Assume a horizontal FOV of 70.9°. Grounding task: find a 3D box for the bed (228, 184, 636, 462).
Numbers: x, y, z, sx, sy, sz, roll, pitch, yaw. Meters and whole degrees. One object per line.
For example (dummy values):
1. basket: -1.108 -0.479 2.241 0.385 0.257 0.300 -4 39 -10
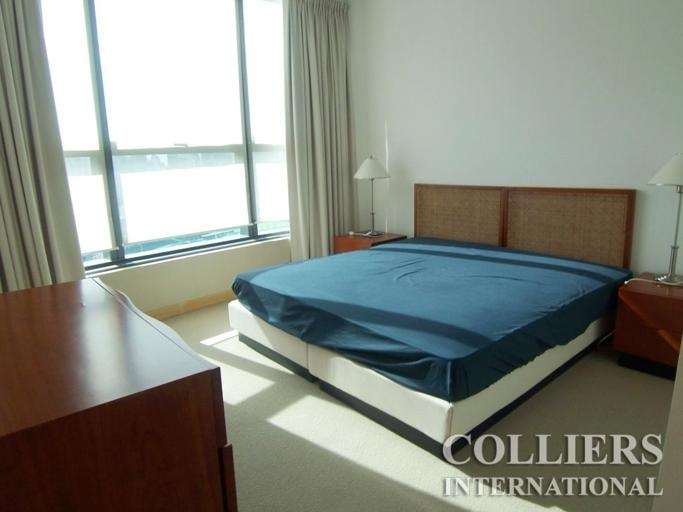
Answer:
1. bed: 0.804 0.135 3.815 2.596 1.152 2.095 -16 20 -39
